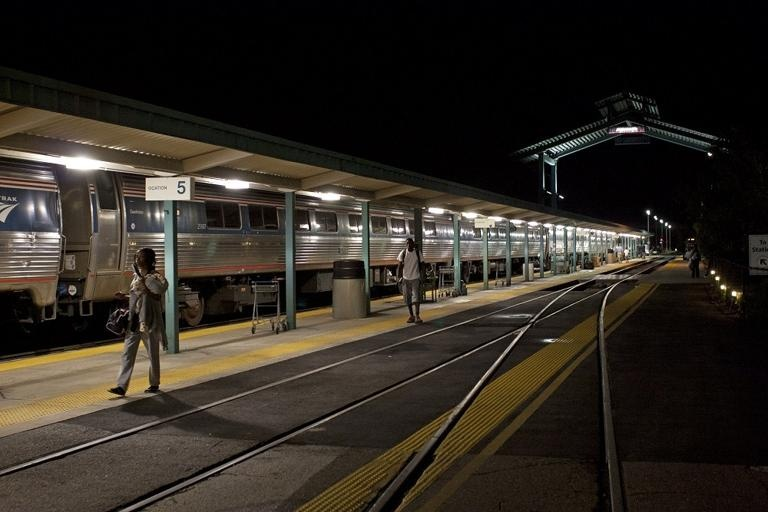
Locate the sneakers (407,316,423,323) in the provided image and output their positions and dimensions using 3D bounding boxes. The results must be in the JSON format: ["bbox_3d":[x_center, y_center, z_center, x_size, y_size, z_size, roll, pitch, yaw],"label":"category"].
[{"bbox_3d":[1.017,1.977,16.733,0.206,0.162,0.435,-5,-11,26],"label":"sneakers"}]

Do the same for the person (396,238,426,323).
[{"bbox_3d":[0.793,0.776,16.816,0.724,2.603,1.032,-1,-2,0],"label":"person"}]

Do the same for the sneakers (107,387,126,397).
[{"bbox_3d":[-4.296,2.172,8.693,0.216,0.182,0.335,0,-2,-24],"label":"sneakers"}]

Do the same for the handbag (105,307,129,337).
[{"bbox_3d":[-4.448,1.111,8.988,0.290,0.466,0.991,0,-2,-28],"label":"handbag"}]

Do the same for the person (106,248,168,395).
[{"bbox_3d":[-4.039,1.065,8.973,0.797,2.399,0.748,0,-2,-22],"label":"person"}]
